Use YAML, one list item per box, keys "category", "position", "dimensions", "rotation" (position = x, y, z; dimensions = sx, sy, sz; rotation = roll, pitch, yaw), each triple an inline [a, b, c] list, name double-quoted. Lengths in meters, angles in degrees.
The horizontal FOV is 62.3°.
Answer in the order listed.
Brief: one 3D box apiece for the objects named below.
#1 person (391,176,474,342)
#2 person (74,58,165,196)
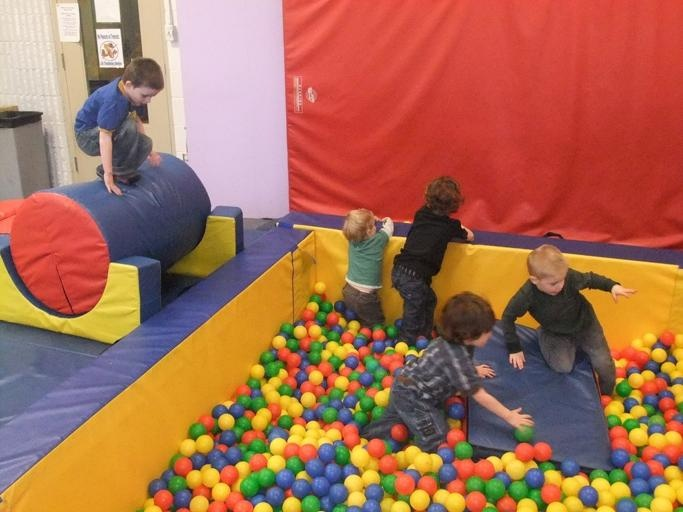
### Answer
- category: "person"
  position: [0.606, 0.046, 3.735]
  dimensions: [0.572, 1.193, 0.309]
  rotation: [-20, 31, -41]
- category: "person"
  position: [-1.319, -0.772, 3.311]
  dimensions: [0.460, 0.786, 0.473]
  rotation: [10, 28, -2]
